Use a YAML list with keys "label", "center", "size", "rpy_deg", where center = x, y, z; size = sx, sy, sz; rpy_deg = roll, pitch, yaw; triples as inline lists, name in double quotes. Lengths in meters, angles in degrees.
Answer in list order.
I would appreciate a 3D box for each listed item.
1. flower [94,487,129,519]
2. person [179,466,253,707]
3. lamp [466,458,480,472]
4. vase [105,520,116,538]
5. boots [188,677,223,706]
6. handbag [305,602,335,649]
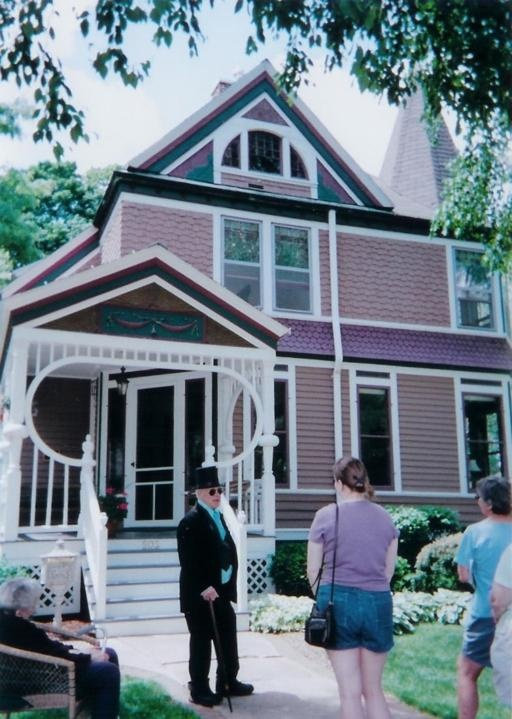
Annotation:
- label: "flower"
  center: [-1.877, 1.928, 11.131]
  size: [0.353, 0.324, 0.375]
  rpy_deg: [3, -13, -11]
- label: "person"
  center: [-0.308, 1.682, 6.443]
  size: [0.460, 1.729, 0.580]
  rpy_deg: [-10, -16, 37]
- label: "lamp"
  center: [3.940, 1.923, 15.448]
  size: [0.271, 0.258, 0.139]
  rpy_deg: [7, -24, -9]
- label: "vase"
  center: [-1.823, 2.152, 10.779]
  size: [0.118, 0.197, 0.203]
  rpy_deg: [2, -13, -10]
- label: "boots"
  center: [-0.366, 2.444, 6.201]
  size: [0.202, 0.134, 0.138]
  rpy_deg: [-13, -19, 32]
- label: "handbag"
  center: [0.347, 1.429, 4.595]
  size: [0.143, 0.223, 0.118]
  rpy_deg: [-11, -22, 33]
